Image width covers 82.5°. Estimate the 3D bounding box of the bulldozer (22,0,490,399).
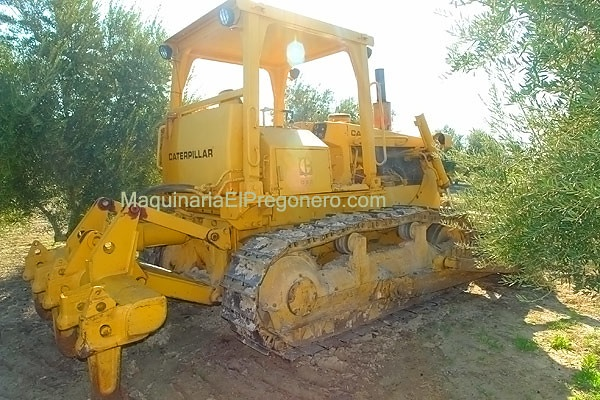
[{"bbox_3d":[-0.393,-0.583,6.090,6.599,4.389,4.212,-5,5,-38],"label":"bulldozer"}]
